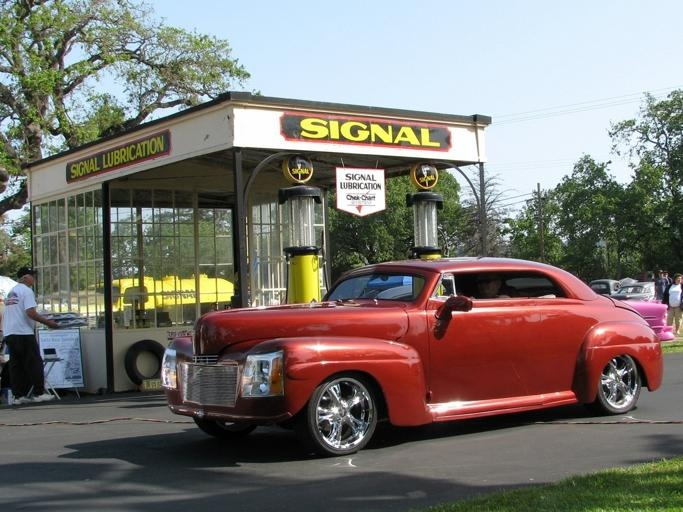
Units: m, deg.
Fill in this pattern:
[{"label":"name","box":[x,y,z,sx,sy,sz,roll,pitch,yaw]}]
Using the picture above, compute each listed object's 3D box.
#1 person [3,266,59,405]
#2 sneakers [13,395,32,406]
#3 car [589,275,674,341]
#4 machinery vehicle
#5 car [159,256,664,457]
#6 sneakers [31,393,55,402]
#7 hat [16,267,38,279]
[{"label":"person","box":[-5.558,1.390,12.231,0.827,2.450,1.050,0,-6,-23]},{"label":"sneakers","box":[-5.670,2.583,12.230,0.194,0.116,0.075,5,-46,-30]},{"label":"car","box":[7.195,1.146,16.818,3.297,1.044,1.867,-1,2,-42]},{"label":"machinery vehicle","box":[-3.853,0.866,15.496,3.484,0.890,0.799,2,-8,-41]},{"label":"car","box":[1.122,1.058,7.946,5.407,1.672,2.264,2,-7,-32]},{"label":"sneakers","box":[-5.478,2.614,12.668,0.379,0.159,0.134,0,3,-23]},{"label":"hat","box":[-6.241,0.335,13.743,0.449,0.241,0.289,-8,6,-14]}]
